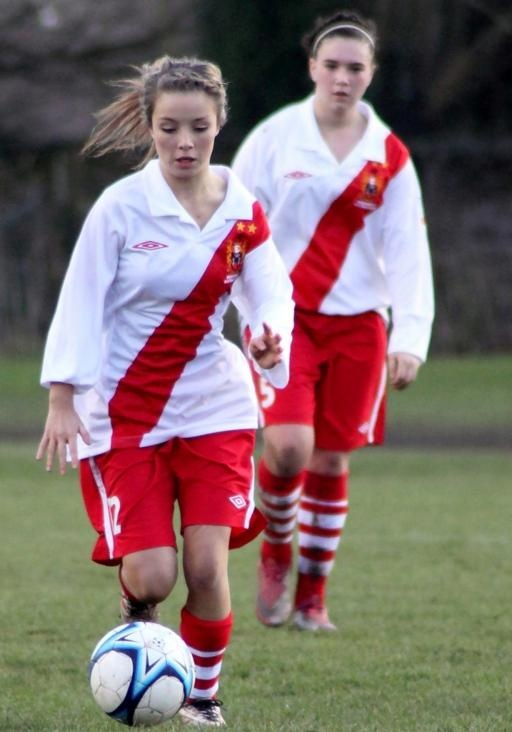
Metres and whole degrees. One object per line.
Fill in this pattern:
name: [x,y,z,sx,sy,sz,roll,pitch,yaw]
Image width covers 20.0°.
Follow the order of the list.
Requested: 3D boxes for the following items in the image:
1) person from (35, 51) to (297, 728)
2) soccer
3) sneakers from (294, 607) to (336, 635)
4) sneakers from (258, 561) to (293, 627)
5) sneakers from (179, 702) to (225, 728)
person: [-0.272,0.065,4.172,0.675,1.838,0.898,7,15,5]
soccer: [-0.309,0.800,3.839,0.279,0.248,0.260,1,-9,-12]
sneakers: [0.185,0.843,4.807,0.053,0.066,0.153,5,-14,-33]
sneakers: [0.060,0.797,5.026,0.088,0.232,0.103,2,-19,-4]
sneakers: [-0.152,0.958,4.006,0.120,0.050,0.054,-3,-2,41]
